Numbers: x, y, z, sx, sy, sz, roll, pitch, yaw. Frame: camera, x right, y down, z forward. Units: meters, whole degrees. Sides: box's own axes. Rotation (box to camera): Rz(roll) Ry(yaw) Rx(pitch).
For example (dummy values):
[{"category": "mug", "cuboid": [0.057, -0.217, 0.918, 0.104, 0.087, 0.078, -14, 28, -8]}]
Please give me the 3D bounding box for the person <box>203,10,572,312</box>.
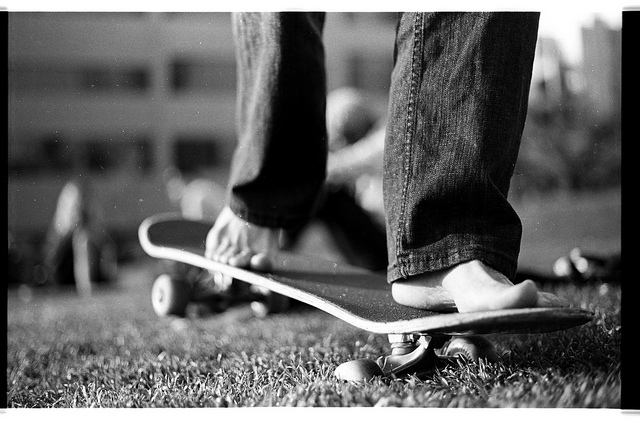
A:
[{"category": "person", "cuboid": [0.215, -0.190, 2.198, 1.089, 0.955, 0.422, 5, 13, 35]}]
